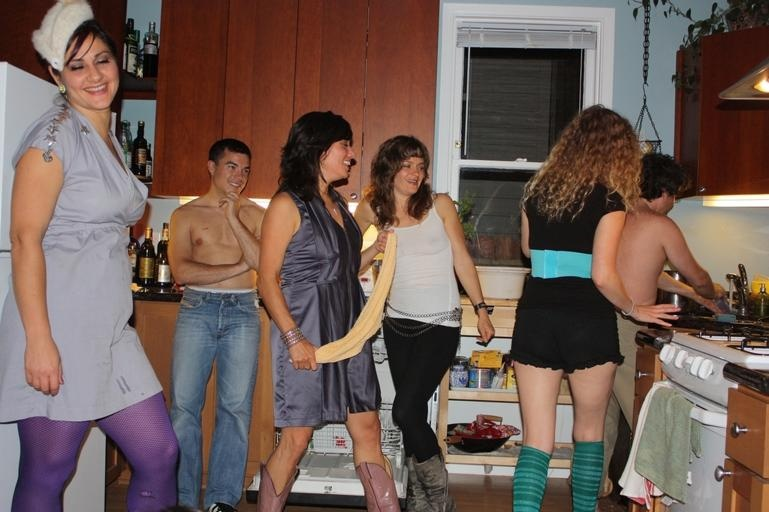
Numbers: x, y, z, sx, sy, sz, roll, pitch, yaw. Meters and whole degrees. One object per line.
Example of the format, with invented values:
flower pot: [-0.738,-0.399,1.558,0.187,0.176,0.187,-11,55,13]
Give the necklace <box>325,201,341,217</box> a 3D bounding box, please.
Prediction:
necklace: [-0.246,-0.222,3.347,0.025,0.083,0.061,-31,4,19]

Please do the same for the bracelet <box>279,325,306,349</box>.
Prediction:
bracelet: [-0.418,0.356,3.156,0.079,0.070,0.089,-11,5,-7]

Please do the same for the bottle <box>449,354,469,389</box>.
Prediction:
bottle: [0.473,0.730,4.409,0.151,0.263,0.151,2,-5,0]

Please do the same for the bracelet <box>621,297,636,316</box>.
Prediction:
bracelet: [1.149,0.242,3.324,0.064,0.087,0.034,-7,5,-40]

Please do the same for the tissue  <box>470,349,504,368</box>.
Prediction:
tissue : [0.645,0.648,4.447,0.141,0.046,0.117,0,42,6]

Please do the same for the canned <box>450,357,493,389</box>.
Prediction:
canned: [0.543,0.731,4.422,0.238,0.167,0.158,-1,2,3]

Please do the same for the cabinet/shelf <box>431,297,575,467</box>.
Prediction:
cabinet/shelf: [0.739,0.744,4.687,0.837,1.261,1.228,0,3,3]
